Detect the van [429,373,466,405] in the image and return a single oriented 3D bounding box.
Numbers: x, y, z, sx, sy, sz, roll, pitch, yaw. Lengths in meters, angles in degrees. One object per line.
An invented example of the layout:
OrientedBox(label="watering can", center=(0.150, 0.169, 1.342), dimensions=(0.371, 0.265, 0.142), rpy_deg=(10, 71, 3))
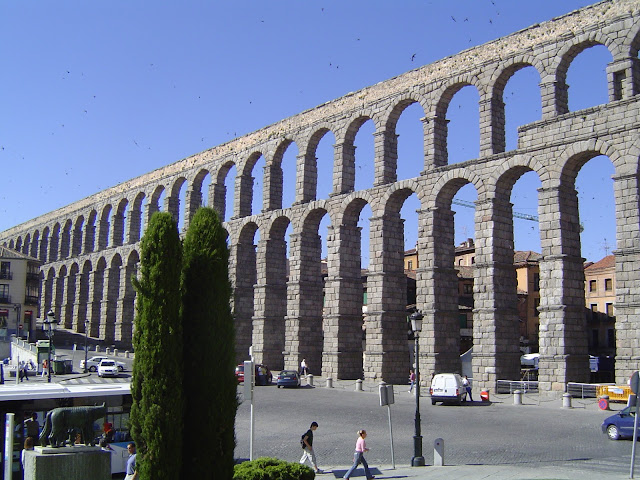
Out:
OrientedBox(label="van", center=(7.446, 8.390, 44.779), dimensions=(1.172, 1.178, 2.254), rpy_deg=(-3, -6, 23))

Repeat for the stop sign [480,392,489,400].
OrientedBox(label="stop sign", center=(9.631, 9.132, 45.786), dimensions=(0.422, 0.630, 0.473), rpy_deg=(-7, -22, 20))
